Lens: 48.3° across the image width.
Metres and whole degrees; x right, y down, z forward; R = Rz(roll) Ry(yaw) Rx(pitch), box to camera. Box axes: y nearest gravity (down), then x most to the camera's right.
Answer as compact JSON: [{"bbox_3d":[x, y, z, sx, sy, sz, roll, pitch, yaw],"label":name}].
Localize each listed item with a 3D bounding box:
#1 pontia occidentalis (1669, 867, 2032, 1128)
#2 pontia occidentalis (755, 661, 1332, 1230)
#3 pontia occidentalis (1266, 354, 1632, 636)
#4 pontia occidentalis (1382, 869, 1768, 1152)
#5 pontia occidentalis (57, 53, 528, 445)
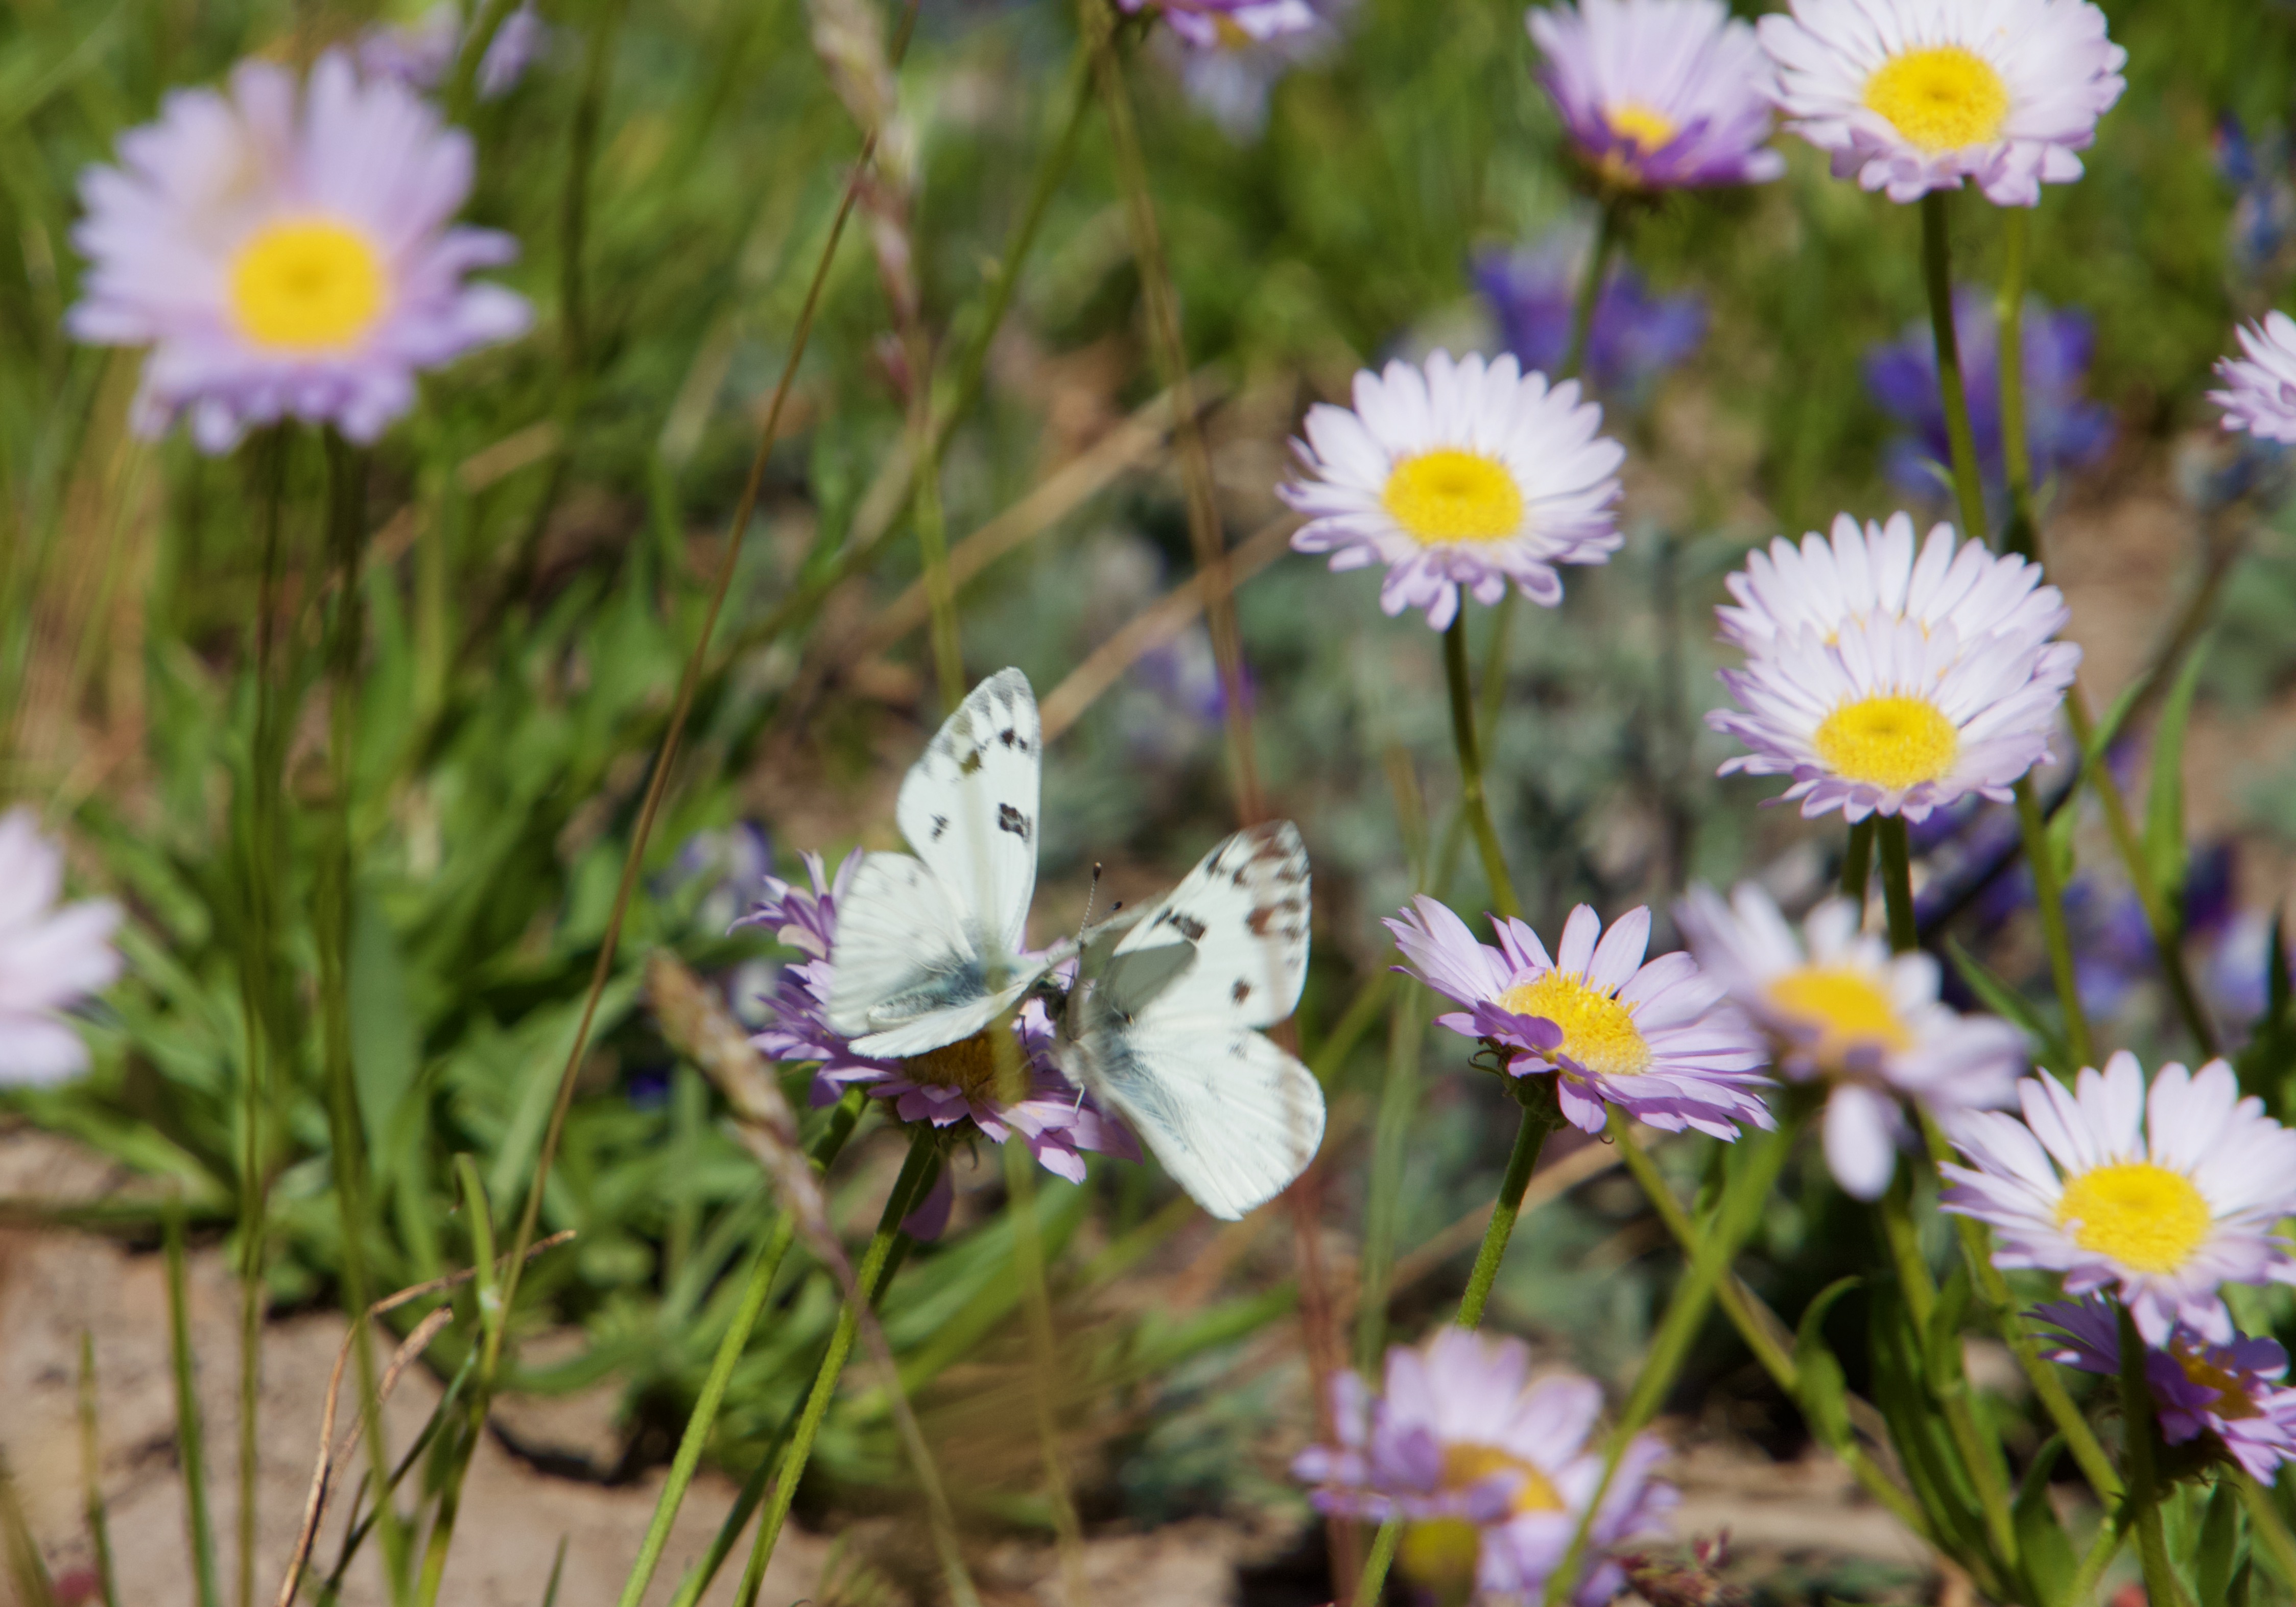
[{"bbox_3d":[0.589,0.161,2.167,0.312,0.128,0.178,28,39,14],"label":"pontia occidentalis"},{"bbox_3d":[-0.077,0.136,2.563,0.520,0.325,0.405,13,37,-2],"label":"pontia occidentalis"},{"bbox_3d":[0.326,-0.328,2.741,0.362,0.186,0.370,21,39,7],"label":"pontia occidentalis"},{"bbox_3d":[0.428,0.205,2.514,0.244,0.095,0.278,19,17,-29],"label":"pontia occidentalis"},{"bbox_3d":[-0.917,-0.539,2.756,0.352,0.157,0.487,-7,67,-7],"label":"pontia occidentalis"}]
